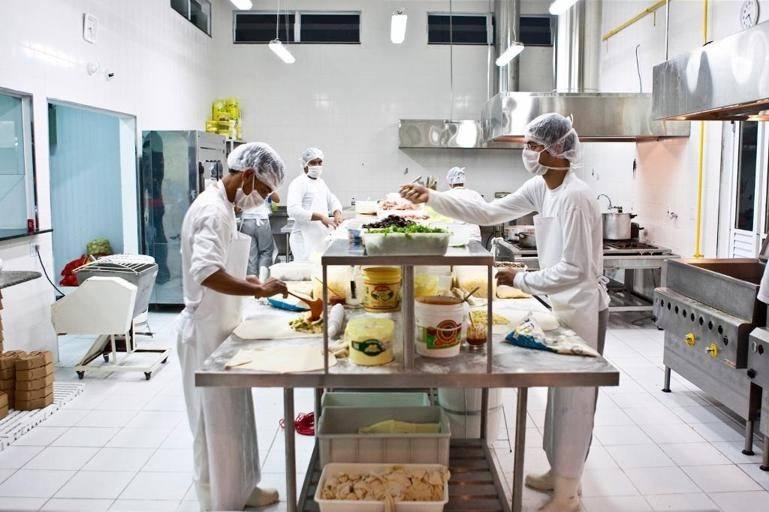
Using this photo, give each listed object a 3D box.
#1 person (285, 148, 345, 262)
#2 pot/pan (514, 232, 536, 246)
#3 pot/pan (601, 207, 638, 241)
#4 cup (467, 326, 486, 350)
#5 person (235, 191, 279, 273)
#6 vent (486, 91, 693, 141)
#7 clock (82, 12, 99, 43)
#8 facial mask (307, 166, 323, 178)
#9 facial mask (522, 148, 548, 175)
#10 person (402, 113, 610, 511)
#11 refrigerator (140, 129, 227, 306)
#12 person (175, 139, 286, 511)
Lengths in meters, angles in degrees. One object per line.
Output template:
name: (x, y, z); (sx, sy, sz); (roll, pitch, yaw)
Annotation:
person: (-0.872, -0.586, 6.638); (0.641, 1.331, 1.213); (-3, 8, -6)
pot/pan: (1.650, -0.205, 6.629); (0.275, 0.109, 0.213); (-1, 9, 6)
pot/pan: (2.731, -0.332, 6.783); (0.522, 0.456, 0.508); (0, -1, 3)
cup: (0.508, 0.459, 3.174); (0.119, 0.123, 0.120); (0, -1, 0)
person: (-1.823, -0.471, 7.910); (0.581, 1.632, 0.497); (3, 36, -3)
vent: (2.394, -1.565, 7.626); (2.413, 0.547, 2.196); (0, -3, 0)
clock: (-3.161, -2.389, 5.966); (0.079, 0.298, 0.261); (-3, 8, -2)
facial mask: (-0.861, -0.986, 6.644); (0.134, 0.085, 0.142); (-3, 14, -16)
facial mask: (0.959, -0.609, 3.645); (0.169, 0.110, 0.150); (-1, 11, 10)
person: (0.981, 0.362, 3.696); (0.874, 2.522, 0.675); (2, 9, 28)
refrigerator: (-2.457, -0.418, 7.900); (0.850, 2.119, 2.183); (-3, -4, 10)
person: (-0.931, 0.485, 3.466); (0.712, 2.323, 0.575); (-6, 9, -20)
